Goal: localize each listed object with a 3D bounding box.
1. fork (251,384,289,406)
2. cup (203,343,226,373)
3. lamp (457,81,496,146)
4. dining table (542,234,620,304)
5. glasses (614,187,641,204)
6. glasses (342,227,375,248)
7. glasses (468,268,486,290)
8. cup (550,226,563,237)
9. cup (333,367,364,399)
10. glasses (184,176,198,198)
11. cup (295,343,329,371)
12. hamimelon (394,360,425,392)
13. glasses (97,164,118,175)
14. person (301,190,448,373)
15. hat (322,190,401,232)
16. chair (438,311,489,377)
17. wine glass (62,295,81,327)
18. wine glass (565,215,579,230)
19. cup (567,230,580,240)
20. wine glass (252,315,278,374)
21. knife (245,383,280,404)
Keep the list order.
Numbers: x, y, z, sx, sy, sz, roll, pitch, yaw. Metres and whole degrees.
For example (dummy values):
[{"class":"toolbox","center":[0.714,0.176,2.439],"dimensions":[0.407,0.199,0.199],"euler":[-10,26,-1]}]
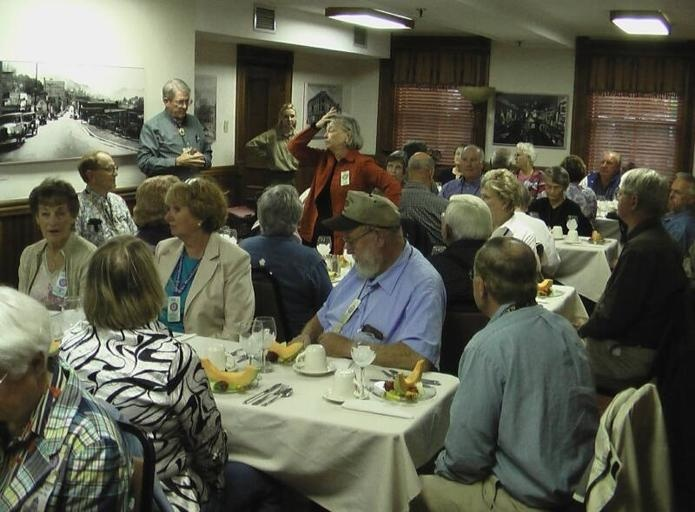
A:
[{"class":"fork","center":[-0.306,0.554,2.685],"dimensions":[0.050,0.019,0.165],"euler":[13,9,14]},{"class":"cup","center":[-0.553,0.451,2.890],"dimensions":[0.068,0.112,0.105],"euler":[-1,-3,17]},{"class":"lamp","center":[2.205,-2.404,11.669],"dimensions":[0.617,1.037,0.532],"euler":[4,11,12]},{"class":"dining table","center":[2.209,0.111,6.423],"dimensions":[0.552,0.363,0.658],"euler":[11,26,33]},{"class":"glasses","center":[1.702,-0.362,4.095],"dimensions":[0.077,0.106,0.111],"euler":[10,47,-11]},{"class":"glasses","center":[0.054,-0.084,3.198],"dimensions":[0.115,0.064,0.086],"euler":[-40,15,-21]},{"class":"glasses","center":[0.515,0.091,2.680],"dimensions":[0.067,0.103,0.047],"euler":[-10,-5,3]},{"class":"cup","center":[2.048,-0.235,6.610],"dimensions":[0.096,0.113,0.117],"euler":[-3,5,-8]},{"class":"cup","center":[-0.005,0.521,2.704],"dimensions":[0.099,0.115,0.113],"euler":[-21,30,-40]},{"class":"glasses","center":[-0.853,-0.384,3.690],"dimensions":[0.077,0.073,0.269],"euler":[0,12,-14]},{"class":"cup","center":[-0.157,0.447,2.945],"dimensions":[0.136,0.110,0.092],"euler":[-3,6,0]},{"class":"hamimelon","center":[0.256,0.483,2.716],"dimensions":[0.085,0.056,0.137],"euler":[3,38,50]},{"class":"glasses","center":[-1.840,-0.660,5.212],"dimensions":[0.078,0.098,0.227],"euler":[3,11,4]},{"class":"person","center":[0.131,0.105,3.316],"dimensions":[0.597,0.835,0.942],"euler":[-7,11,-32]},{"class":"hat","center":[0.075,-0.224,3.298],"dimensions":[0.392,0.189,0.270],"euler":[2,11,-2]},{"class":"chair","center":[0.589,0.453,3.566],"dimensions":[0.249,0.373,0.306],"euler":[3,4,16]},{"class":"wine glass","center":[-1.316,0.272,3.212],"dimensions":[0.110,0.173,0.086],"euler":[2,-2,-7]},{"class":"wine glass","center":[2.210,-0.335,6.679],"dimensions":[0.106,0.161,0.117],"euler":[0,-2,-2]},{"class":"cup","center":[2.177,-0.198,6.535],"dimensions":[0.088,0.098,0.095],"euler":[-1,5,0]},{"class":"wine glass","center":[-0.366,0.401,2.972],"dimensions":[0.101,0.242,0.105],"euler":[3,-3,-27]},{"class":"knife","center":[-0.337,0.543,2.711],"dimensions":[0.044,0.014,0.182],"euler":[13,16,23]}]
